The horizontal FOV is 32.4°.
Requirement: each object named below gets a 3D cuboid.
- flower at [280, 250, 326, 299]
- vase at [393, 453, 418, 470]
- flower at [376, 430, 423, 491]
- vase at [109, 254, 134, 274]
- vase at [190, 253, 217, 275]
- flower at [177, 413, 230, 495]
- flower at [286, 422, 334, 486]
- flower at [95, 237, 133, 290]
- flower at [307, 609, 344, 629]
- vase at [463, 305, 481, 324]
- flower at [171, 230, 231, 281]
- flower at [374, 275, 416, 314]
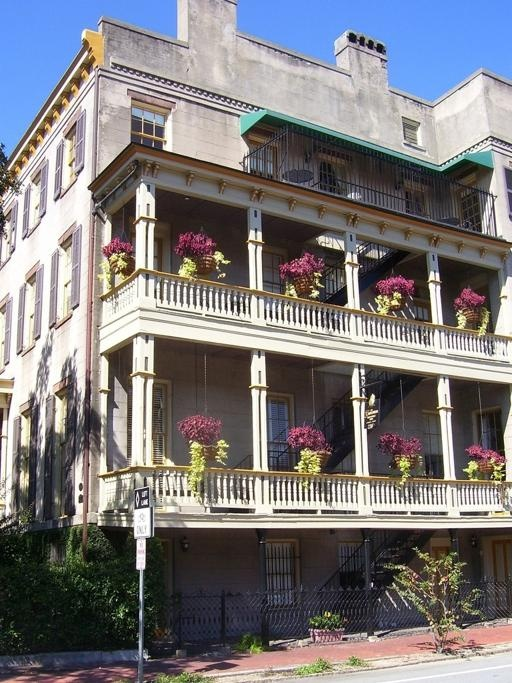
[{"bbox_3d":[1.192,-1.639,21.626,1.193,1.359,1.295,2,-8,-10],"label":"flower"},{"bbox_3d":[3.621,2.937,21.400,0.523,0.356,0.562,4,-15,-11],"label":"vase"},{"bbox_3d":[3.570,3.081,22.340,1.236,1.223,0.901,5,-21,-12],"label":"flower"},{"bbox_3d":[-3.009,-1.688,19.693,0.551,0.480,0.439,1,-19,-9],"label":"vase"},{"bbox_3d":[-1.126,-1.669,19.432,0.445,0.317,0.435,3,-22,-17],"label":"vase"},{"bbox_3d":[-1.187,2.280,17.865,0.817,1.406,0.973,-1,-6,33],"label":"flower"},{"bbox_3d":[1.169,2.690,20.429,1.088,1.892,1.467,-6,-17,20],"label":"flower"},{"bbox_3d":[-3.152,-1.780,19.796,0.620,0.851,0.702,-4,-1,-38],"label":"flower"},{"bbox_3d":[1.454,5.999,18.927,0.536,0.298,0.508,4,-16,-6],"label":"flower"},{"bbox_3d":[5.922,-0.757,24.118,0.434,0.305,0.425,2,-12,-11],"label":"vase"},{"bbox_3d":[-1.279,-1.889,19.395,0.914,1.185,0.582,7,-21,-23],"label":"flower"},{"bbox_3d":[3.676,-1.256,23.794,1.013,1.151,1.172,-4,-12,27],"label":"flower"}]
